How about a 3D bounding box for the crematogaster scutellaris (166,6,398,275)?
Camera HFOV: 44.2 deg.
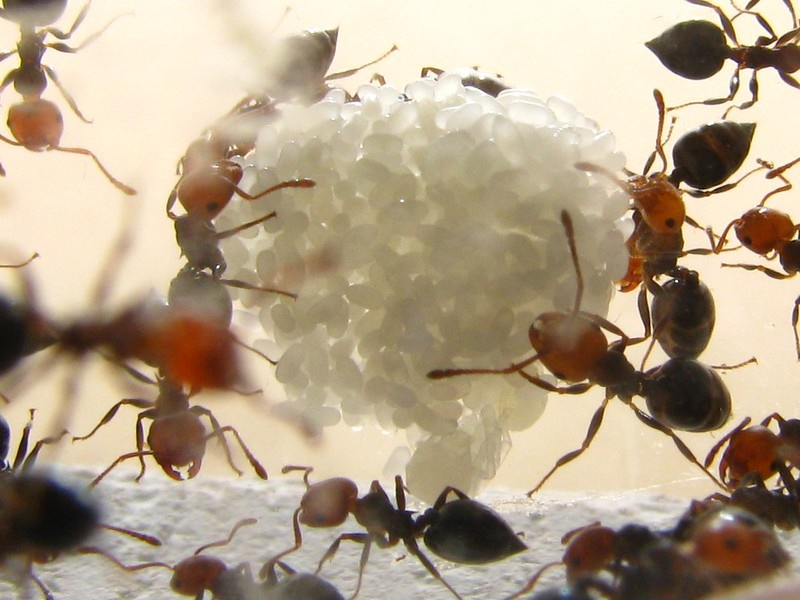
[{"bbox_3d":[-0.165,-0.212,1.525,0.099,0.360,0.259,25,9,-29],"label":"crematogaster scutellaris"}]
